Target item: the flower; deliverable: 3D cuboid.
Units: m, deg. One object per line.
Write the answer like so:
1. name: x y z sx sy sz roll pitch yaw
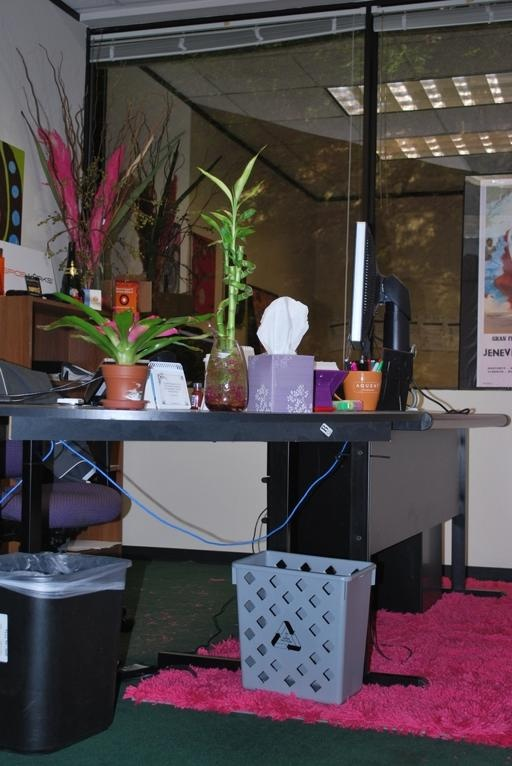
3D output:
1. flower: -0.807 -1.155 3.592 0.568 1.323 0.774 3 3 13

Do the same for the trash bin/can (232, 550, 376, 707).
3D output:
1. trash bin/can: 0.107 0.524 1.766 0.434 0.423 0.292 -2 -6 25

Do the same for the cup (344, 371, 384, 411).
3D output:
1. cup: 0.275 0.021 1.700 0.095 0.095 0.088 4 -6 0

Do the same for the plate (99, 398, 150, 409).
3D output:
1. plate: -0.233 0.036 1.191 0.075 0.016 0.062 1 3 -12

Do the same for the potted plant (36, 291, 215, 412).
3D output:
1. potted plant: -0.246 -0.046 1.275 0.292 0.199 0.293 -2 -6 7
